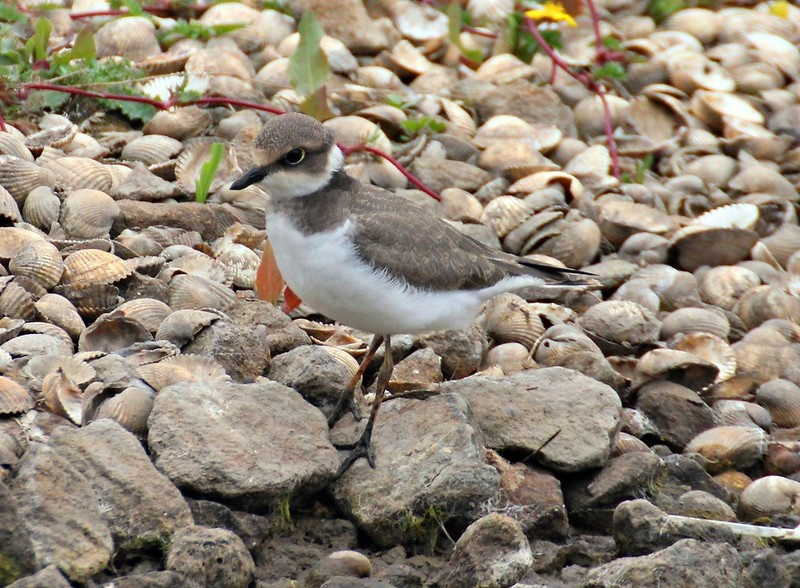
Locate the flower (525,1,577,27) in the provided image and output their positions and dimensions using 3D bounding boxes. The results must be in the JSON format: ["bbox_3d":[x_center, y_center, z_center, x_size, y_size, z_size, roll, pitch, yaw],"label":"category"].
[{"bbox_3d":[1.138,-2.187,8.884,0.266,0.108,0.256,7,7,13],"label":"flower"}]
